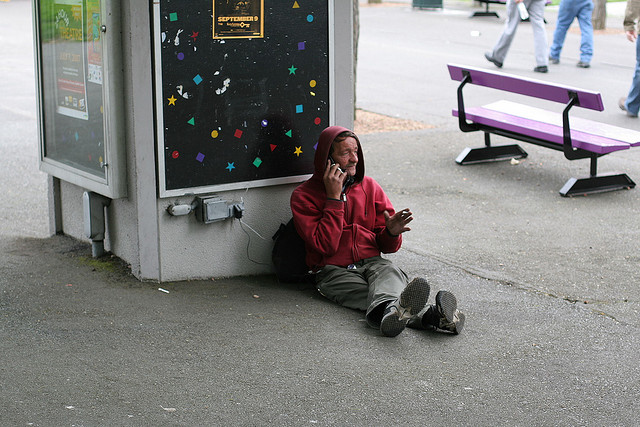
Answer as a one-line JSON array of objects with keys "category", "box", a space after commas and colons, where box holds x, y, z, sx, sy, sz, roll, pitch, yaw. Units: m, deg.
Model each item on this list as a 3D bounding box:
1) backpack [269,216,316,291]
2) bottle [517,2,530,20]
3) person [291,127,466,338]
[{"category": "backpack", "box": [-0.277, 0.351, 6.198, 0.507, 0.577, 0.197, -6, 9, -10]}, {"category": "bottle", "box": [4.495, -4.486, 15.255, 0.310, 0.387, 0.122, -18, -7, -42]}, {"category": "person", "box": [0.463, 0.145, 5.732, 0.965, 1.463, 1.940, -8, 14, -20]}]
